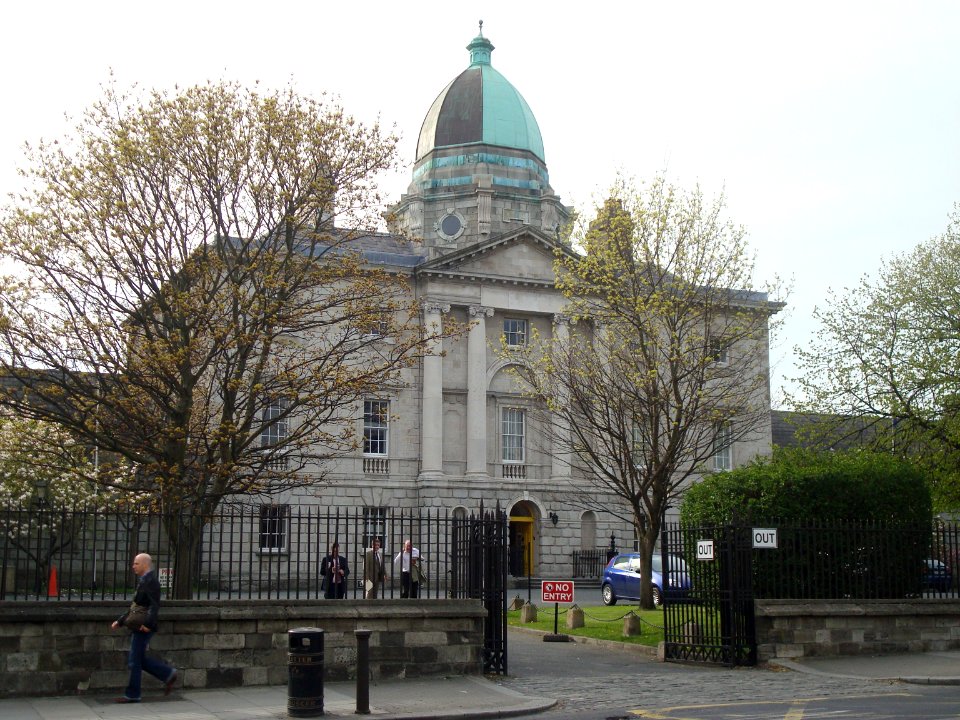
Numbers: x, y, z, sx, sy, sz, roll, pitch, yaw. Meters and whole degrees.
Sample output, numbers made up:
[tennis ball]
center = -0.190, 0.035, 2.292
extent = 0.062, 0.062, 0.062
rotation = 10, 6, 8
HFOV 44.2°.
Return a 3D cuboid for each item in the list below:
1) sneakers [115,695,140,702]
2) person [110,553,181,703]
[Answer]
[sneakers]
center = -5.959, 5.734, 19.937
extent = 0.354, 0.140, 0.133
rotation = 8, -17, -1
[person]
center = -5.767, 4.567, 20.378
extent = 1.081, 2.558, 1.324
rotation = 3, -14, -14
